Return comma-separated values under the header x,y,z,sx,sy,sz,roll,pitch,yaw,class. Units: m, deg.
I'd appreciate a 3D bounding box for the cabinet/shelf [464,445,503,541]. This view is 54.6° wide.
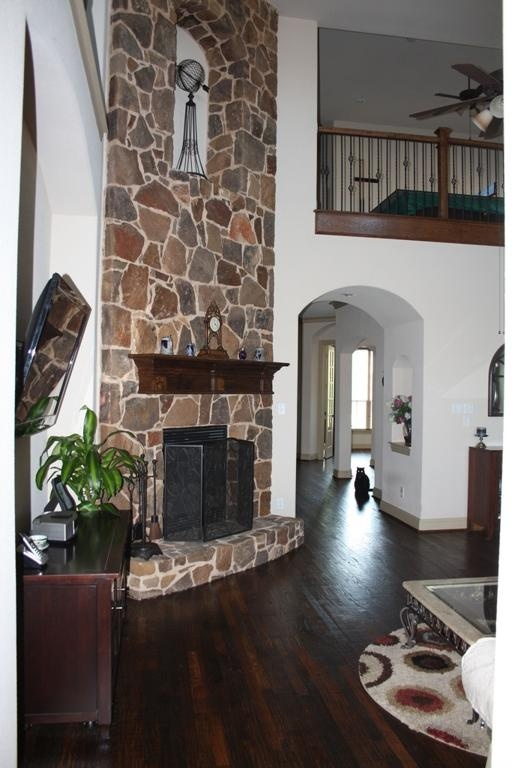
x,y,z,sx,sy,sz,roll,pitch,yaw,class
2.453,1.131,5.280,0.157,0.947,0.501,1,-1,-17,cabinet/shelf

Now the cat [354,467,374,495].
x,y,z,sx,sy,sz,roll,pitch,yaw,class
1.609,1.432,7.426,0.274,0.380,0.286,1,-2,-6,cat

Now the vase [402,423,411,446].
x,y,z,sx,sy,sz,roll,pitch,yaw,class
1.811,0.597,5.913,0.085,0.262,0.388,0,-2,17,vase

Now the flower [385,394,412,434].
x,y,z,sx,sy,sz,roll,pitch,yaw,class
1.722,0.330,6.020,0.280,0.416,0.364,-2,-26,6,flower

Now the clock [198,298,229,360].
x,y,z,sx,sy,sz,roll,pitch,yaw,class
-0.380,-0.478,4.358,0.157,0.504,0.344,0,-2,39,clock

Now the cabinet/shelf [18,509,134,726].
x,y,z,sx,sy,sz,roll,pitch,yaw,class
-0.750,1.042,2.086,0.377,0.704,0.725,1,-2,-18,cabinet/shelf
